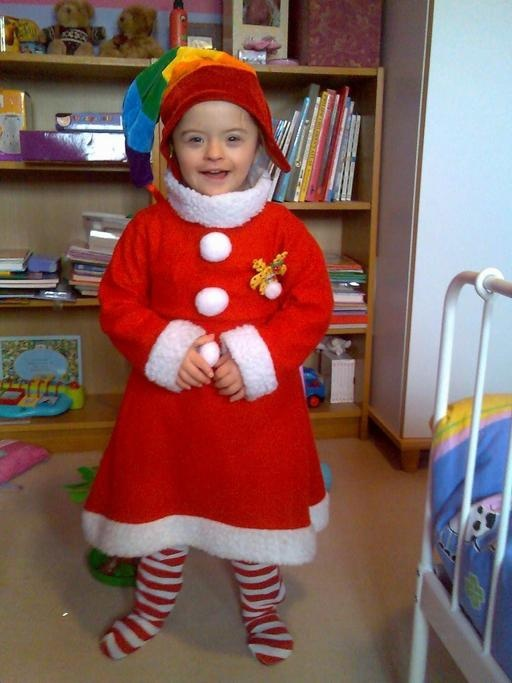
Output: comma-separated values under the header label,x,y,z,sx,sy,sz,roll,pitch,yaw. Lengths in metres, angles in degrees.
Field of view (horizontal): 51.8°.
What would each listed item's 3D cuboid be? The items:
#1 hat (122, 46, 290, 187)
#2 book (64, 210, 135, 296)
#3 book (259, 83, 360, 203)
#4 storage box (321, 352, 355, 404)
label,x,y,z,sx,sy,sz,roll,pitch,yaw
hat,-0.073,-0.370,0.846,0.261,0.222,0.181,-4,4,0
book,-0.493,-0.278,1.664,0.229,0.302,0.091,2,57,-7
book,0.138,-0.602,1.739,0.331,0.439,0.147,-6,21,-34
storage box,0.268,0.123,1.971,0.086,0.151,0.247,-3,8,-17
